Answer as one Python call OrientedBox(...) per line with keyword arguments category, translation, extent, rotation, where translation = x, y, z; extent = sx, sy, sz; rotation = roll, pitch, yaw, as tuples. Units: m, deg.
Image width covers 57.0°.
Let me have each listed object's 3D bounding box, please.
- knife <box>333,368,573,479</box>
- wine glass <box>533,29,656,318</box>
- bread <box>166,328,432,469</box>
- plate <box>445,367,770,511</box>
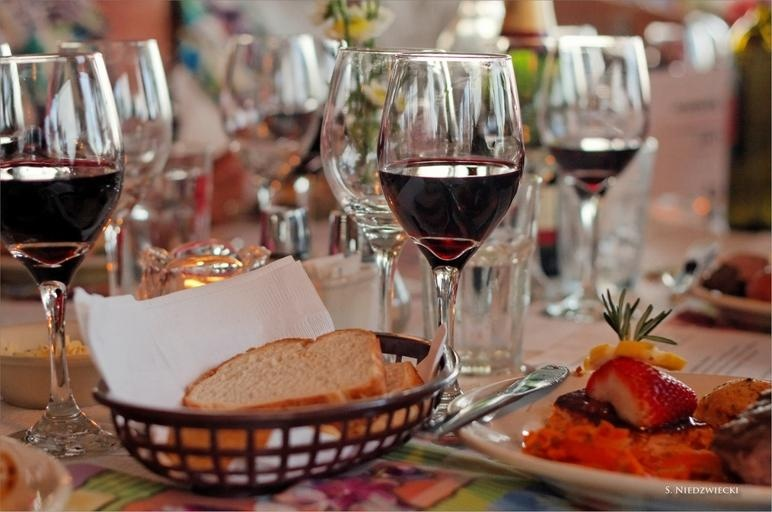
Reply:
OrientedBox(category="knife", translation=(0.081, 0.120, 0.636), extent=(0.051, 0.030, 0.222), rotation=(6, 17, 38))
OrientedBox(category="wine glass", translation=(0.349, -0.153, 1.224), extent=(0.180, 0.456, 0.371), rotation=(3, 12, 12))
OrientedBox(category="bread", translation=(-0.085, 0.111, 0.610), extent=(0.155, 0.036, 0.112), rotation=(-5, 13, -22))
OrientedBox(category="plate", translation=(0.193, 0.156, 0.619), extent=(0.267, 0.056, 0.216), rotation=(2, 11, 8))
